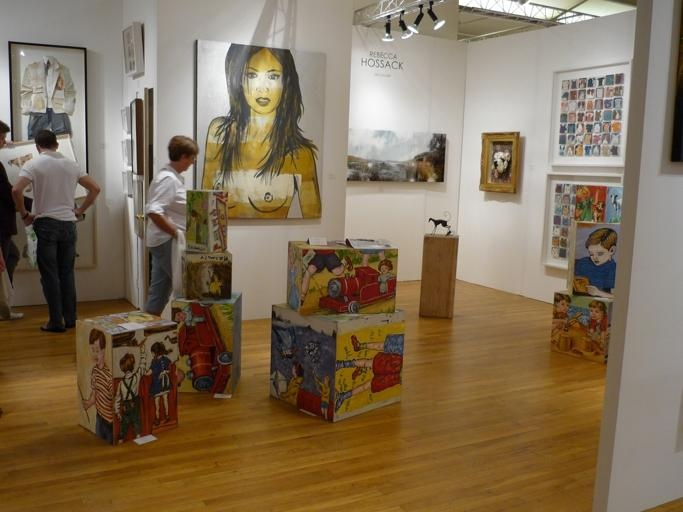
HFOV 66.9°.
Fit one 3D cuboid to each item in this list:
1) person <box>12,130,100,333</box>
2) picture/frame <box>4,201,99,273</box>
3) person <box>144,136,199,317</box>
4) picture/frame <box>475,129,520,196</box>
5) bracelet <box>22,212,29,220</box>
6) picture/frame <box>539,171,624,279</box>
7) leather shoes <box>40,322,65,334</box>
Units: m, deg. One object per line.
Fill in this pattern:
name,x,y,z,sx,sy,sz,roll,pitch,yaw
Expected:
person,-3.209,-0.302,5.833,0.583,2.180,0.664,3,9,9
picture/frame,-3.405,-0.234,5.990,0.761,0.842,0.279,-2,4,-29
person,-1.624,-0.257,4.911,0.522,1.743,0.452,6,10,29
picture/frame,2.605,-1.547,8.513,0.192,0.934,0.774,-3,11,-28
bracelet,-3.449,-0.431,5.654,0.019,0.074,0.067,10,0,-19
picture/frame,3.036,-0.435,6.517,0.054,1.477,1.306,-2,8,-27
leather shoes,-3.187,0.800,5.718,0.245,0.125,0.123,9,11,17
